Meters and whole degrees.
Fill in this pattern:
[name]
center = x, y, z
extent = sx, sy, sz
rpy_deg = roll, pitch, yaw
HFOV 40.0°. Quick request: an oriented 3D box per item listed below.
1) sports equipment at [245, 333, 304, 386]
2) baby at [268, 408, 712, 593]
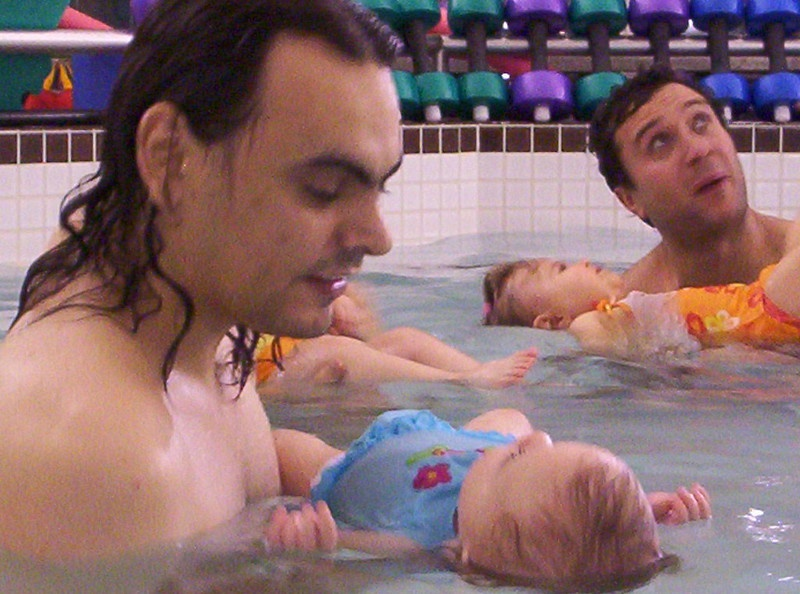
[sports equipment]
center = -0.295, 0.163, 2.678
extent = 0.159, 0.158, 0.044
rpy_deg = 9, 2, 21
[baby]
center = 0.152, 0.253, 1.902
extent = 0.518, 0.197, 0.355
rpy_deg = 16, 20, 31
